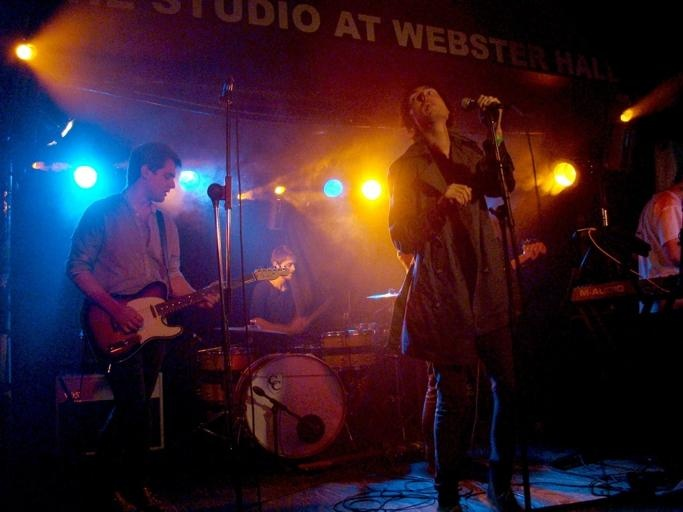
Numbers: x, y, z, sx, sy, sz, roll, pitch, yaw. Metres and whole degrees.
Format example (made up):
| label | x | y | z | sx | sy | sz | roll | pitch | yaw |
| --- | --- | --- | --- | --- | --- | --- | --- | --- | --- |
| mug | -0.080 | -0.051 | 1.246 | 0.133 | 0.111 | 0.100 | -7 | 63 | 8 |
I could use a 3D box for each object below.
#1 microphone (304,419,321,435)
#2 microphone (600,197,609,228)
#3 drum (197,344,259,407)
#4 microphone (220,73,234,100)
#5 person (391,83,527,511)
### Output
| label | x | y | z | sx | sy | sz | roll | pitch | yaw |
| --- | --- | --- | --- | --- | --- | --- | --- | --- | --- |
| microphone | -0.282 | 1.704 | 6.330 | 0.141 | 0.154 | 0.030 | -7 | -28 | -34 |
| microphone | 3.054 | -0.546 | 7.332 | 0.095 | 0.379 | 0.195 | -8 | -9 | 31 |
| drum | -1.243 | 1.305 | 6.983 | 0.673 | 0.794 | 0.764 | -1 | -1 | 14 |
| microphone | -0.958 | -1.432 | 5.421 | 0.190 | 0.263 | 0.056 | 2 | 3 | 31 |
| person | 0.913 | 0.250 | 4.927 | 0.979 | 3.418 | 0.685 | -6 | -8 | 18 |
